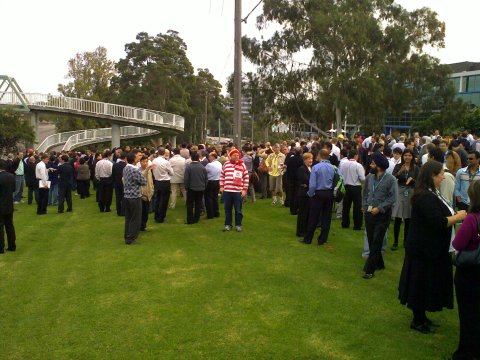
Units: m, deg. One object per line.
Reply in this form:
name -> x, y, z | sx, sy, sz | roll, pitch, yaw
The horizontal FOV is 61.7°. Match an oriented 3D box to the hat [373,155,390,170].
hat -> 2.813, -0.360, 8.012 | 0.251, 0.255, 0.314 | 44, 18, 16

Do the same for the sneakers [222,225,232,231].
sneakers -> -0.347, 1.381, 11.350 | 0.102, 0.154, 0.323 | 0, -11, 14

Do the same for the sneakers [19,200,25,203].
sneakers -> -9.703, 0.979, 17.913 | 0.141, 0.200, 0.423 | 0, -11, -37

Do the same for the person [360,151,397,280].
person -> 2.772, 0.715, 7.985 | 0.593, 2.473, 0.565 | 3, 10, 20

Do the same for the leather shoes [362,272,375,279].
leather shoes -> 2.566, 1.932, 8.015 | 0.112, 0.101, 0.261 | -1, -3, -29

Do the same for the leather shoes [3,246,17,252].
leather shoes -> -5.631, 1.714, 9.930 | 0.274, 0.215, 0.107 | 5, -6, 2

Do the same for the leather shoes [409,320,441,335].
leather shoes -> 2.915, 2.331, 6.326 | 0.330, 0.143, 0.198 | -4, 19, 11

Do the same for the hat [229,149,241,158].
hat -> -0.139, -0.733, 11.253 | 0.355, 0.176, 0.444 | -2, 1, -1
